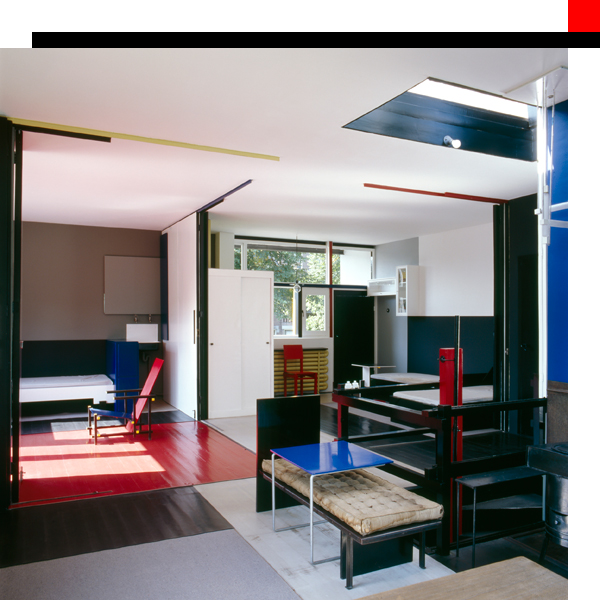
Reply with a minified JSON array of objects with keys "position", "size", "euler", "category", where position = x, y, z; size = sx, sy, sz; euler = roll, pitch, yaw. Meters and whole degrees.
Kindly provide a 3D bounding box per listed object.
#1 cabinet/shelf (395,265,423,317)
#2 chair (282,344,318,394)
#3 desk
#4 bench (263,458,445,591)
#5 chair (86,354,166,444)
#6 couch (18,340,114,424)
[{"position":[1.794,-0.143,9.482],"size":[0.346,0.577,0.545],"euler":[1,-1,-13],"category":"cabinet/shelf"},{"position":[-0.013,1.168,9.559],"size":[0.454,0.869,0.525],"euler":[-1,-2,-19],"category":"chair"},{"position":[0.259,1.302,3.913],"size":[0.797,0.588,0.629],"euler":[-6,4,-28],"category":"desk"},{"position":[0.322,1.340,3.531],"size":[0.596,0.448,1.160],"euler":[1,-1,-25],"category":"bench"},{"position":[-2.054,1.188,6.802],"size":[0.806,0.896,0.619],"euler":[1,-1,-27],"category":"chair"},{"position":[-3.352,0.988,8.153],"size":[1.258,1.418,1.000],"euler":[2,-6,-28],"category":"couch"}]
